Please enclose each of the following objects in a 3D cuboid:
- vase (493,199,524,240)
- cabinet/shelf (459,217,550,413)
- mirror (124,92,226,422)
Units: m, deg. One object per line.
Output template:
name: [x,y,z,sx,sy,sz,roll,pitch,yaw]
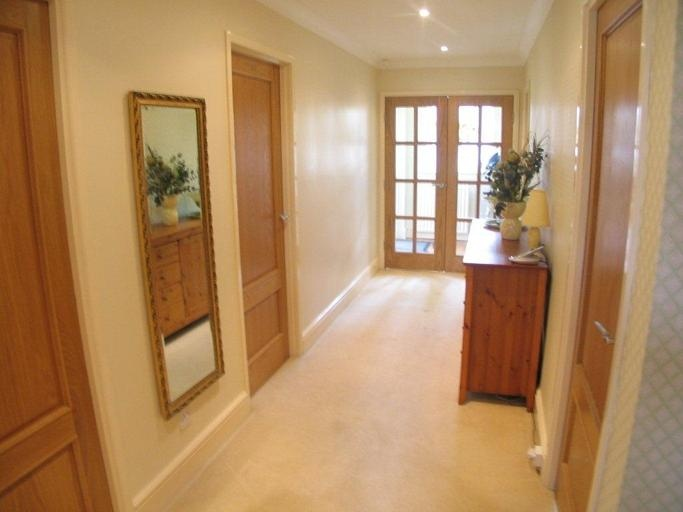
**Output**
vase: [1.354,-0.290,3.940,0.256,0.319,0.267,4,16,27]
cabinet/shelf: [1.143,0.457,3.496,0.556,1.019,0.738,2,12,18]
mirror: [-0.829,-0.006,2.565,0.077,1.577,0.562,2,13,18]
